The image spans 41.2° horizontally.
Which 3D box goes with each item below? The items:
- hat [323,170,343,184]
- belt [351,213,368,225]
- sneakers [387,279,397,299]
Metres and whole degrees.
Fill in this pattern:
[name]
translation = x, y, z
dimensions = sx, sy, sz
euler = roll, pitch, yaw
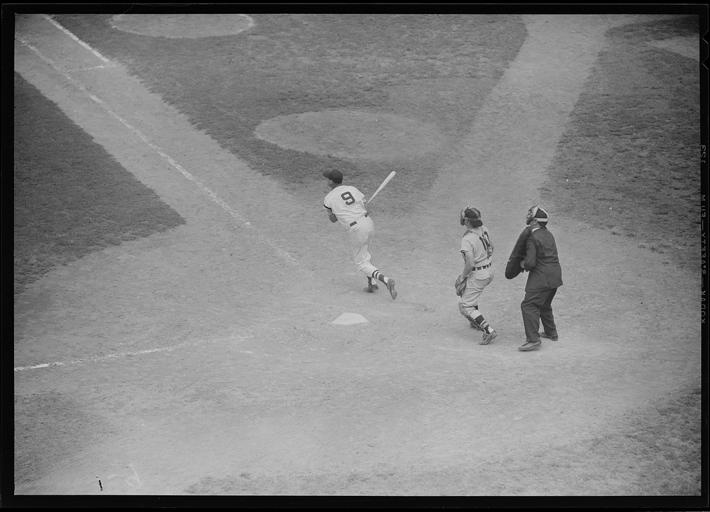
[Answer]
[hat]
translation = -0.367, -1.490, 17.319
dimensions = 0.259, 0.149, 0.347
euler = -17, 40, -39
[belt]
translation = 0.087, -0.655, 17.130
dimensions = 0.300, 0.204, 0.096
euler = -29, 97, 8
[sneakers]
translation = 0.678, 0.626, 17.261
dimensions = 0.153, 0.171, 0.345
euler = -21, 87, -19
